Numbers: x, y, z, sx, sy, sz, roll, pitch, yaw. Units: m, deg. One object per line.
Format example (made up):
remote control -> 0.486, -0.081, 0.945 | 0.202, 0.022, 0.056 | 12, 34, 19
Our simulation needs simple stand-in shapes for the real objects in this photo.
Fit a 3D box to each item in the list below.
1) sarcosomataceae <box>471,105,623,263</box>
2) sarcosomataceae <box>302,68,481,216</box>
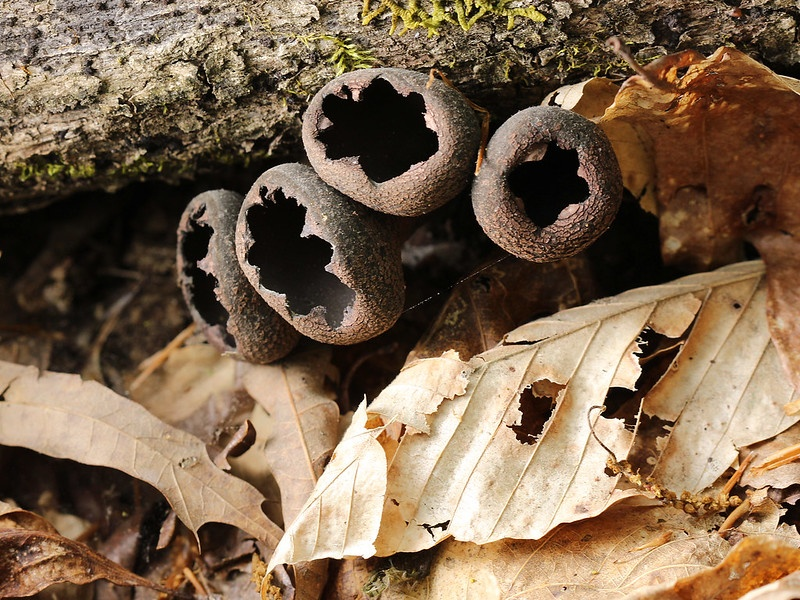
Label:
sarcosomataceae -> 0.469, -0.362, 3.188 | 0.514, 0.215, 0.468 | 0, 95, 5
sarcosomataceae -> -0.023, -0.508, 3.243 | 0.544, 0.329, 0.477 | -21, 76, -3
